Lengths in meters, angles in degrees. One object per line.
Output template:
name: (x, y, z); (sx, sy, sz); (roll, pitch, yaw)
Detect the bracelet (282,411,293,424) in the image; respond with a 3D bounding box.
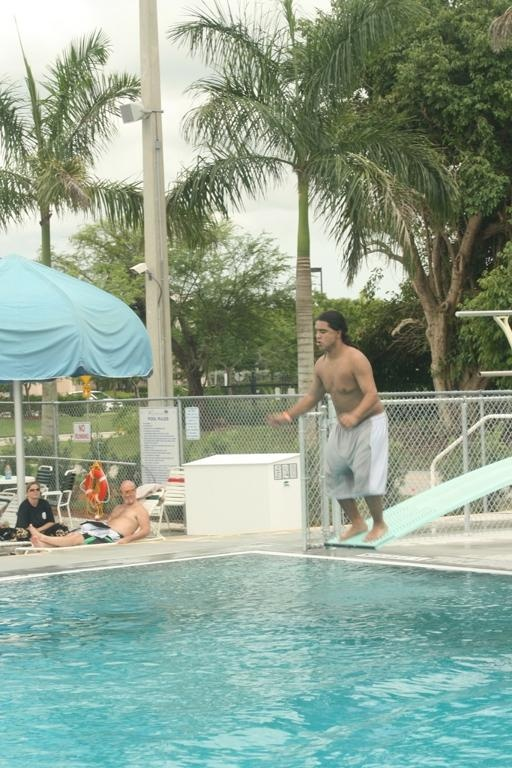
bracelet: (0.265, 0.269, 7.545); (0.045, 0.091, 0.070); (-18, -31, -3)

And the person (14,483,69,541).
person: (-2.702, 1.585, 11.267); (0.637, 0.723, 0.674); (-4, -8, -31)

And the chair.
chair: (-1.876, 1.601, 11.132); (1.519, 0.716, 0.745); (-1, 4, -11)

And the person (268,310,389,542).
person: (0.693, 0.334, 7.293); (0.744, 1.879, 0.942); (-2, -3, -9)

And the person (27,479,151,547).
person: (-2.002, 1.615, 10.988); (1.417, 0.777, 0.674); (-1, 3, -27)
